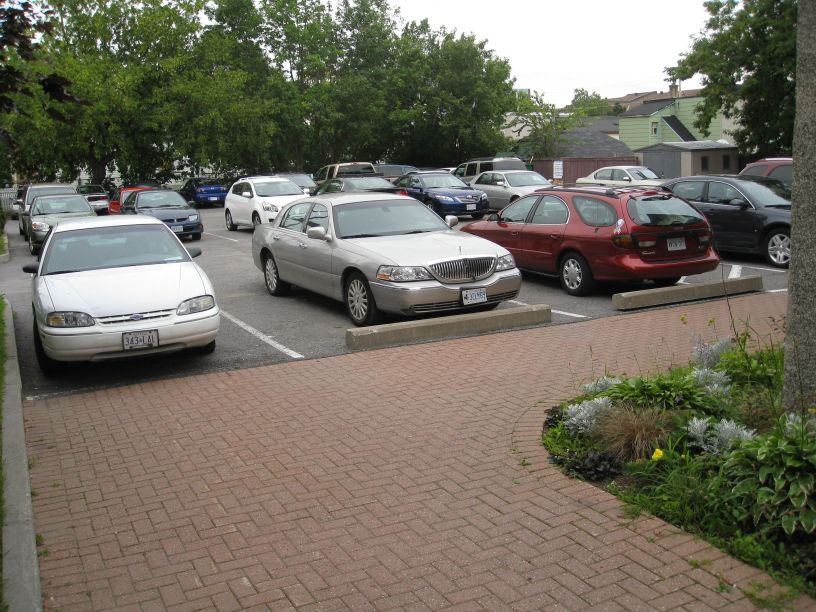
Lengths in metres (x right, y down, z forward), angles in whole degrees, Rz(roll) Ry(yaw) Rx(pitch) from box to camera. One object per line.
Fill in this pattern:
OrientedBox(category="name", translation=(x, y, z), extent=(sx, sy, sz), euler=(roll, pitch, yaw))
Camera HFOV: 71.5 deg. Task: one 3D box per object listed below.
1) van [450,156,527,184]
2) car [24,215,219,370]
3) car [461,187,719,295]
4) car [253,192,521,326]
OrientedBox(category="van", translation=(4.236, -7.197, 30.133), extent=(1.988, 1.847, 3.576), euler=(-8, 17, -29))
OrientedBox(category="car", translation=(-4.098, -0.178, 8.028), extent=(2.157, 1.956, 2.620), euler=(-10, 14, -34))
OrientedBox(category="car", translation=(3.580, -1.444, 11.946), extent=(2.121, 1.378, 4.568), euler=(-7, 16, -32))
OrientedBox(category="car", translation=(-0.865, -1.007, 10.553), extent=(2.259, 1.455, 4.800), euler=(-8, 12, -37))
